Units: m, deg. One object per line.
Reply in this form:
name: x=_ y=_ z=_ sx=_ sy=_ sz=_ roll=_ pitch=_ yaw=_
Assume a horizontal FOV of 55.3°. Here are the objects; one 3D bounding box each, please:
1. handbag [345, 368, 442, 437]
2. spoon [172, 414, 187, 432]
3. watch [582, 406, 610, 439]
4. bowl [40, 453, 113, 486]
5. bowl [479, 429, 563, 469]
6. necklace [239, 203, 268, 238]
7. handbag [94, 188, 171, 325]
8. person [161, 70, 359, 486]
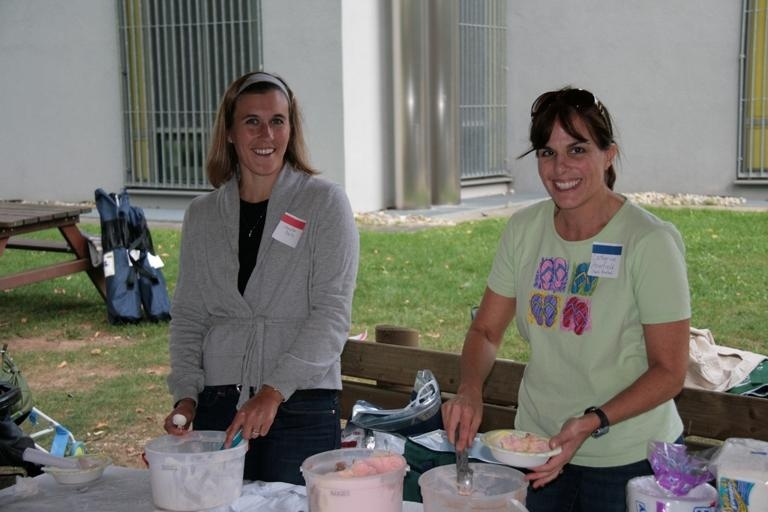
handbag: x=0.073 y=0.848 z=4.084 sx=0.383 sy=0.333 sz=0.317 roll=-8 pitch=7 yaw=-12
spoon: x=-0.925 y=0.756 z=3.323 sx=0.049 sy=0.070 sz=0.066 roll=-3 pitch=-21 yaw=8
watch: x=0.897 y=0.708 z=3.090 sx=0.101 sy=0.124 sz=0.081 roll=2 pitch=10 yaw=23
bowl: x=-1.388 y=0.967 z=3.332 sx=0.268 sy=0.097 sz=0.195 roll=-8 pitch=12 yaw=-29
bowl: x=0.575 y=0.815 z=3.072 sx=0.309 sy=0.108 sz=0.328 roll=1 pitch=1 yaw=0
necklace: x=-0.680 y=-0.188 z=3.804 sx=0.112 sy=0.206 sz=0.044 roll=1 pitch=-3 yaw=10
handbag: x=-2.843 y=0.009 z=8.309 sx=0.699 sy=1.519 sz=0.468 roll=-5 pitch=10 yaw=-15
person: x=-0.631 y=0.084 z=3.657 sx=0.970 sy=1.993 sz=0.928 roll=-1 pitch=9 yaw=4
